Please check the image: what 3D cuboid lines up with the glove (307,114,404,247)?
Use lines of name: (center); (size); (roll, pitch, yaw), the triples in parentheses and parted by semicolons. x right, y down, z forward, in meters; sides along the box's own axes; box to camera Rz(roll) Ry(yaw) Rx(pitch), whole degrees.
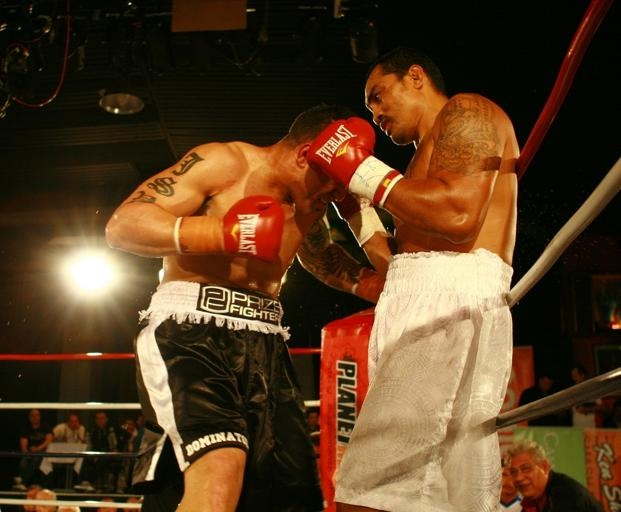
glove: (0.081, -0.386, 2.815); (0.236, 0.599, 0.474); (-29, -52, -10)
